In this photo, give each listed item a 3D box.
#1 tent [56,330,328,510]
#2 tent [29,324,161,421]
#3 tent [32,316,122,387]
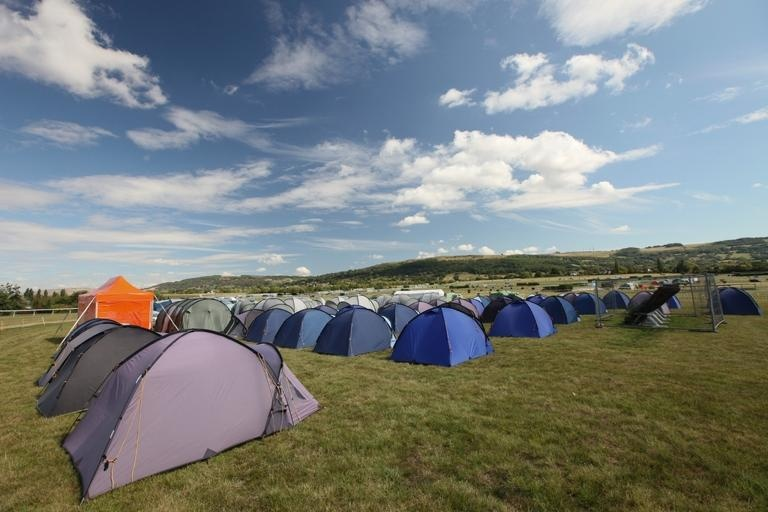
[{"bbox_3d":[-6.088,4.476,13.179,6.743,2.712,4.124,-5,7,-39],"label":"tent"},{"bbox_3d":[-11.609,4.333,15.332,4.631,1.710,3.935,-15,16,-39],"label":"tent"},{"bbox_3d":[-14.256,4.032,18.067,3.967,1.548,3.716,-1,3,-24],"label":"tent"}]
